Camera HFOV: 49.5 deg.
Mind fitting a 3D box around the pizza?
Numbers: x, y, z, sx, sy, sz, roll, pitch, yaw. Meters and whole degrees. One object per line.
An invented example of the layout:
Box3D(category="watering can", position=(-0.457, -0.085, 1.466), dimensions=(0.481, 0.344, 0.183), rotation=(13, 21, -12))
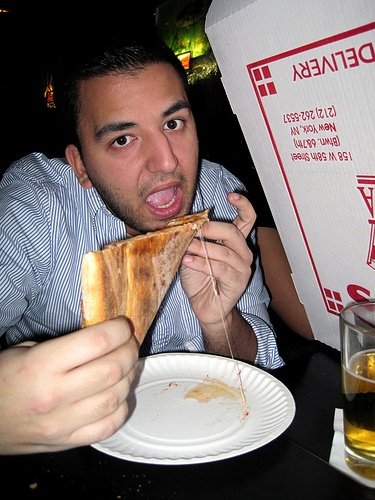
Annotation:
Box3D(category="pizza", position=(-0.106, 0.049, 0.606), dimensions=(0.179, 0.063, 0.217), rotation=(-15, -26, -49))

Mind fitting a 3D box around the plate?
Box3D(category="plate", position=(0.028, 0.255, 0.698), dimensions=(0.292, 0.054, 0.332), rotation=(1, 14, 7))
